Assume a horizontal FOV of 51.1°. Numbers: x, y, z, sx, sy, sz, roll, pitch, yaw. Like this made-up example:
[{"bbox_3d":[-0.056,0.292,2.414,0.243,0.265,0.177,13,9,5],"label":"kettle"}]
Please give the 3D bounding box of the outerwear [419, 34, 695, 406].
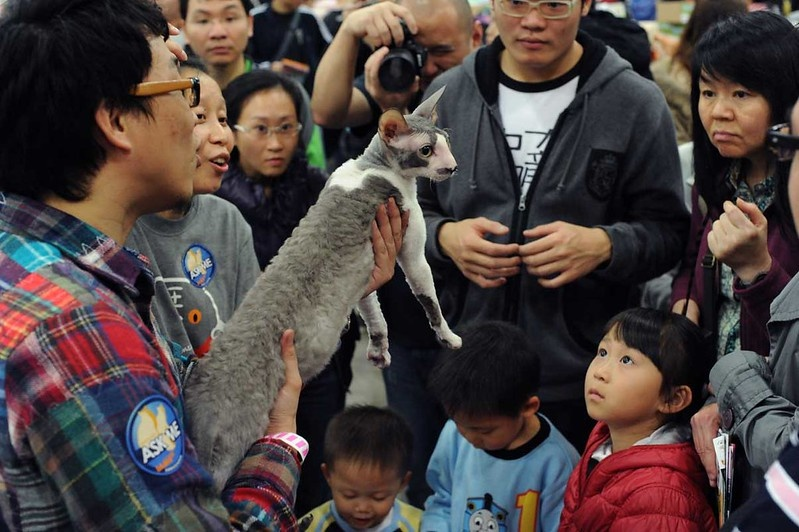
[{"bbox_3d":[0.843,-0.214,4.574,1.724,2.102,1.273,1,25,12],"label":"outerwear"}]
